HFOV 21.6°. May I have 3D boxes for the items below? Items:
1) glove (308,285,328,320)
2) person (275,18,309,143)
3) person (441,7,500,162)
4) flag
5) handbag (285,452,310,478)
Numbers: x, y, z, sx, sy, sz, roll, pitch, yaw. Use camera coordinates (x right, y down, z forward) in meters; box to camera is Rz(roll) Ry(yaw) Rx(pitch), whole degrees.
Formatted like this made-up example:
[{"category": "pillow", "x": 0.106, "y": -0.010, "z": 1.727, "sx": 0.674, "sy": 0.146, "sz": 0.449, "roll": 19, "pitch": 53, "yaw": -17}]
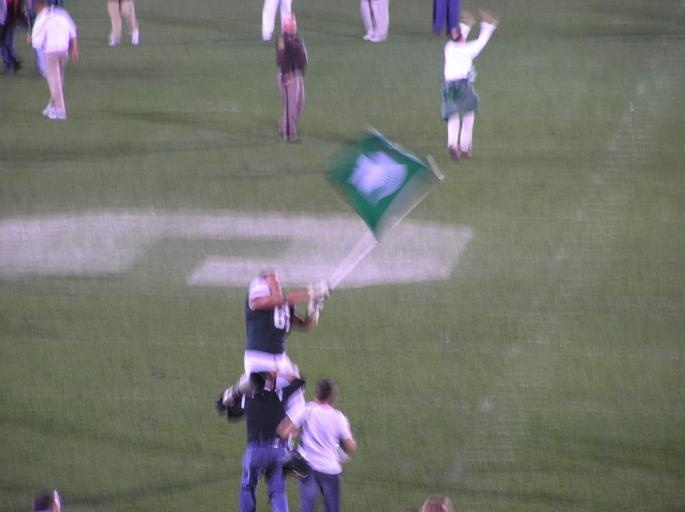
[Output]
[{"category": "glove", "x": -0.320, "y": 0.659, "z": 23.342, "sx": 0.209, "sy": 0.404, "sz": 0.151, "roll": -16, "pitch": 55, "yaw": -19}, {"category": "person", "x": -0.716, "y": -2.449, "z": 25.140, "sx": 0.404, "sy": 1.706, "sz": 0.399, "roll": 1, "pitch": 18, "yaw": 1}, {"category": "person", "x": 1.727, "y": -2.357, "z": 25.328, "sx": 0.657, "sy": 1.822, "sz": 1.000, "roll": 5, "pitch": 20, "yaw": 12}, {"category": "flag", "x": 0.486, "y": -0.837, "z": 22.853, "sx": 1.262, "sy": 1.260, "sz": 0.587, "roll": 11, "pitch": 21, "yaw": 22}, {"category": "handbag", "x": -0.551, "y": 2.704, "z": 22.520, "sx": 0.154, "sy": 0.237, "sz": 0.493, "roll": 16, "pitch": -17, "yaw": 19}]
